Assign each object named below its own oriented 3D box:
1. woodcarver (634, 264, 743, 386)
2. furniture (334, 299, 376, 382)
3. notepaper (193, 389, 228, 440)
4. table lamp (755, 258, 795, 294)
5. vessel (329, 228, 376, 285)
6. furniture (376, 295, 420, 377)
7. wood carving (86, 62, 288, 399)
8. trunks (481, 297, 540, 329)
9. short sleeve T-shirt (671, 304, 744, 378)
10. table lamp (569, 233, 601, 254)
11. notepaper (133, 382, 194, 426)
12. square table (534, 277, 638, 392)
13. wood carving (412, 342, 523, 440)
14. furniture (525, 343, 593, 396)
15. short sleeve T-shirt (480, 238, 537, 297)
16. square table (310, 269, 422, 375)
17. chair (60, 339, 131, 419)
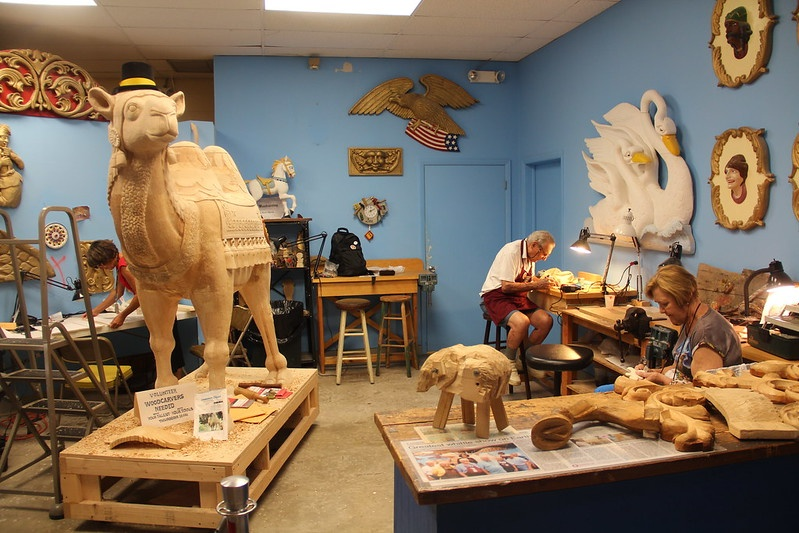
[{"bbox_3d":[2.004,0.427,4.239,0.668,0.799,0.748,-6,-2,17],"label":"woodcarver"},{"bbox_3d":[-0.517,0.797,7.005,0.447,0.901,0.895,-2,6,-3],"label":"furniture"},{"bbox_3d":[-1.349,1.076,4.371,0.248,0.345,0.132,-4,7,-17],"label":"notepaper"},{"bbox_3d":[2.744,0.064,4.454,0.263,0.224,0.224,-9,-1,23],"label":"table lamp"},{"bbox_3d":[-0.564,-0.171,7.135,0.330,0.595,0.461,2,4,40],"label":"vessel"},{"bbox_3d":[-0.025,0.780,7.073,0.576,0.839,0.532,-2,4,-11],"label":"furniture"},{"bbox_3d":[-1.527,-0.148,4.597,0.534,2.135,1.239,0,6,19],"label":"wood carving"},{"bbox_3d":[1.080,0.431,6.290,0.344,0.113,0.373,-9,16,-30],"label":"trunks"},{"bbox_3d":[2.057,0.494,4.209,0.428,0.534,0.703,1,-2,11],"label":"short sleeve T-shirt"},{"bbox_3d":[1.864,-0.215,6.150,0.246,0.190,0.204,9,7,-38],"label":"table lamp"},{"bbox_3d":[-1.714,1.023,4.483,0.297,0.183,0.106,-10,0,-37],"label":"notepaper"},{"bbox_3d":[1.727,0.596,5.576,0.426,0.739,1.152,0,3,-7],"label":"square table"},{"bbox_3d":[0.428,0.700,3.627,0.539,0.523,0.477,2,0,16],"label":"wood carving"},{"bbox_3d":[1.336,0.877,5.176,0.362,0.383,0.358,-3,6,-2],"label":"furniture"},{"bbox_3d":[1.226,0.084,6.367,0.316,0.527,0.573,11,2,41],"label":"short sleeve T-shirt"},{"bbox_3d":[-0.408,0.637,7.055,1.164,1.093,0.413,-2,8,-11],"label":"square table"},{"bbox_3d":[-2.747,0.976,5.532,0.477,0.841,0.607,2,7,-3],"label":"chair"}]
